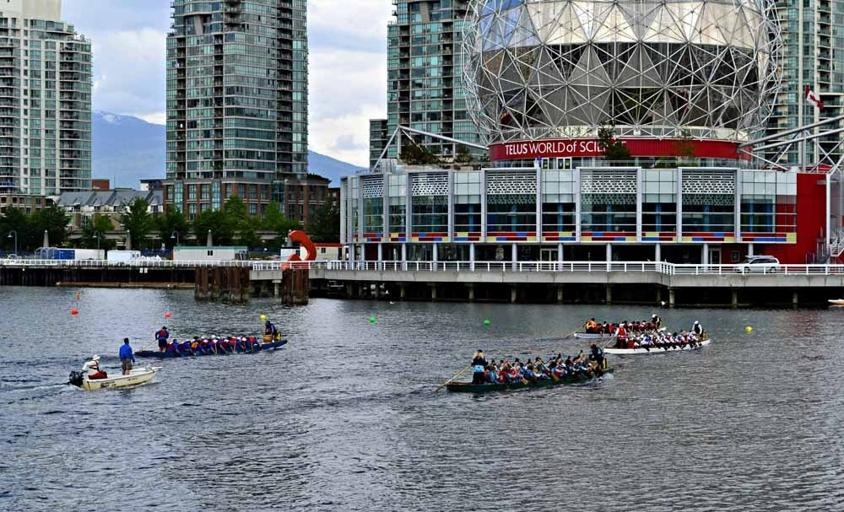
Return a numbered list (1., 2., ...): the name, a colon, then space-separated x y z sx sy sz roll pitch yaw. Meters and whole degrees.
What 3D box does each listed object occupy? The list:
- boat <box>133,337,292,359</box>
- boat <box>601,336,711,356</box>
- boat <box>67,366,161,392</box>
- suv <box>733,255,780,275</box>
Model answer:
1. boat: -22.930 9.880 184.004 14.709 2.264 2.703 1 -7 6
2. boat: 27.753 10.352 186.379 16.819 1.604 3.359 -1 -3 -23
3. boat: -31.552 12.822 173.646 8.484 2.112 2.914 -4 6 -27
4. suv: 42.498 1.130 212.716 5.300 1.845 2.680 1 0 -2
